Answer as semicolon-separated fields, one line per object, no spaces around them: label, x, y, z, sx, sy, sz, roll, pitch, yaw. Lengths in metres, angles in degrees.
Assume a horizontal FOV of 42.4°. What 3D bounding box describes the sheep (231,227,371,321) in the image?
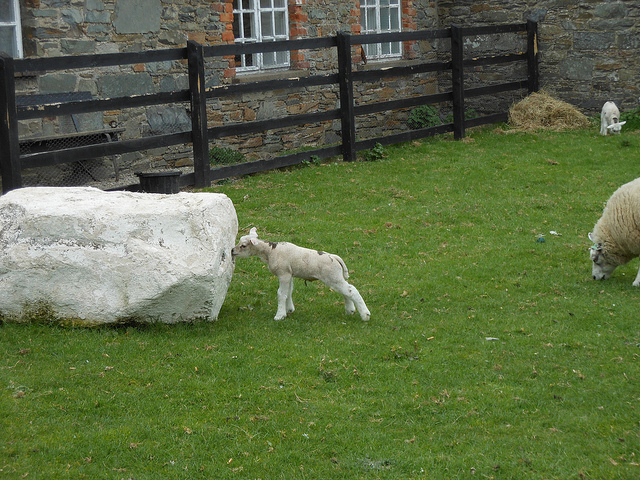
sheep;-0.211;0.275;10.561;2.086;1.437;0.807;5;19;6

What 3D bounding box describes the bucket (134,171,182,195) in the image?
bucket;-2.294;-0.819;11.894;0.579;0.318;0.439;-8;16;-12

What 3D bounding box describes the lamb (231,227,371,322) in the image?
lamb;-0.240;0.438;10.098;1.673;1.154;0.658;3;13;5

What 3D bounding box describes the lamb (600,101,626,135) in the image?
lamb;6.122;-2.446;17.226;0.348;0.638;1.166;2;33;6
